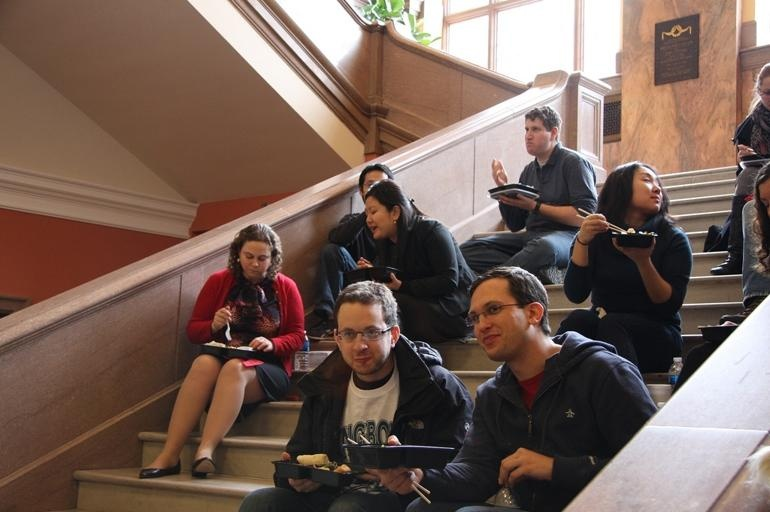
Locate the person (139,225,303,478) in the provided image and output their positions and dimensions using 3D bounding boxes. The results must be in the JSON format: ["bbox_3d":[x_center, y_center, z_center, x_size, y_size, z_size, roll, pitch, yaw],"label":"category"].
[{"bbox_3d":[-0.828,0.476,3.086,0.620,1.349,0.752,0,0,16],"label":"person"}]

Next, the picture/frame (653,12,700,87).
[{"bbox_3d":[3.636,-2.549,7.015,0.020,0.726,0.517,-14,13,-38],"label":"picture/frame"}]

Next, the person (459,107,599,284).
[{"bbox_3d":[1.097,-0.346,4.303,1.082,1.548,0.835,8,-6,-40],"label":"person"}]

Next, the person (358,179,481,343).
[{"bbox_3d":[0.250,0.065,3.592,0.695,0.981,0.642,8,16,19],"label":"person"}]

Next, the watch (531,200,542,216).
[{"bbox_3d":[1.107,-0.343,4.114,0.062,0.089,0.094,14,-30,17],"label":"watch"}]

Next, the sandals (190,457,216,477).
[{"bbox_3d":[-0.876,1.020,2.753,0.109,0.108,0.099,4,-8,-34],"label":"sandals"}]

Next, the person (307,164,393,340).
[{"bbox_3d":[-0.233,-0.051,4.022,0.584,1.119,0.708,0,0,45],"label":"person"}]
